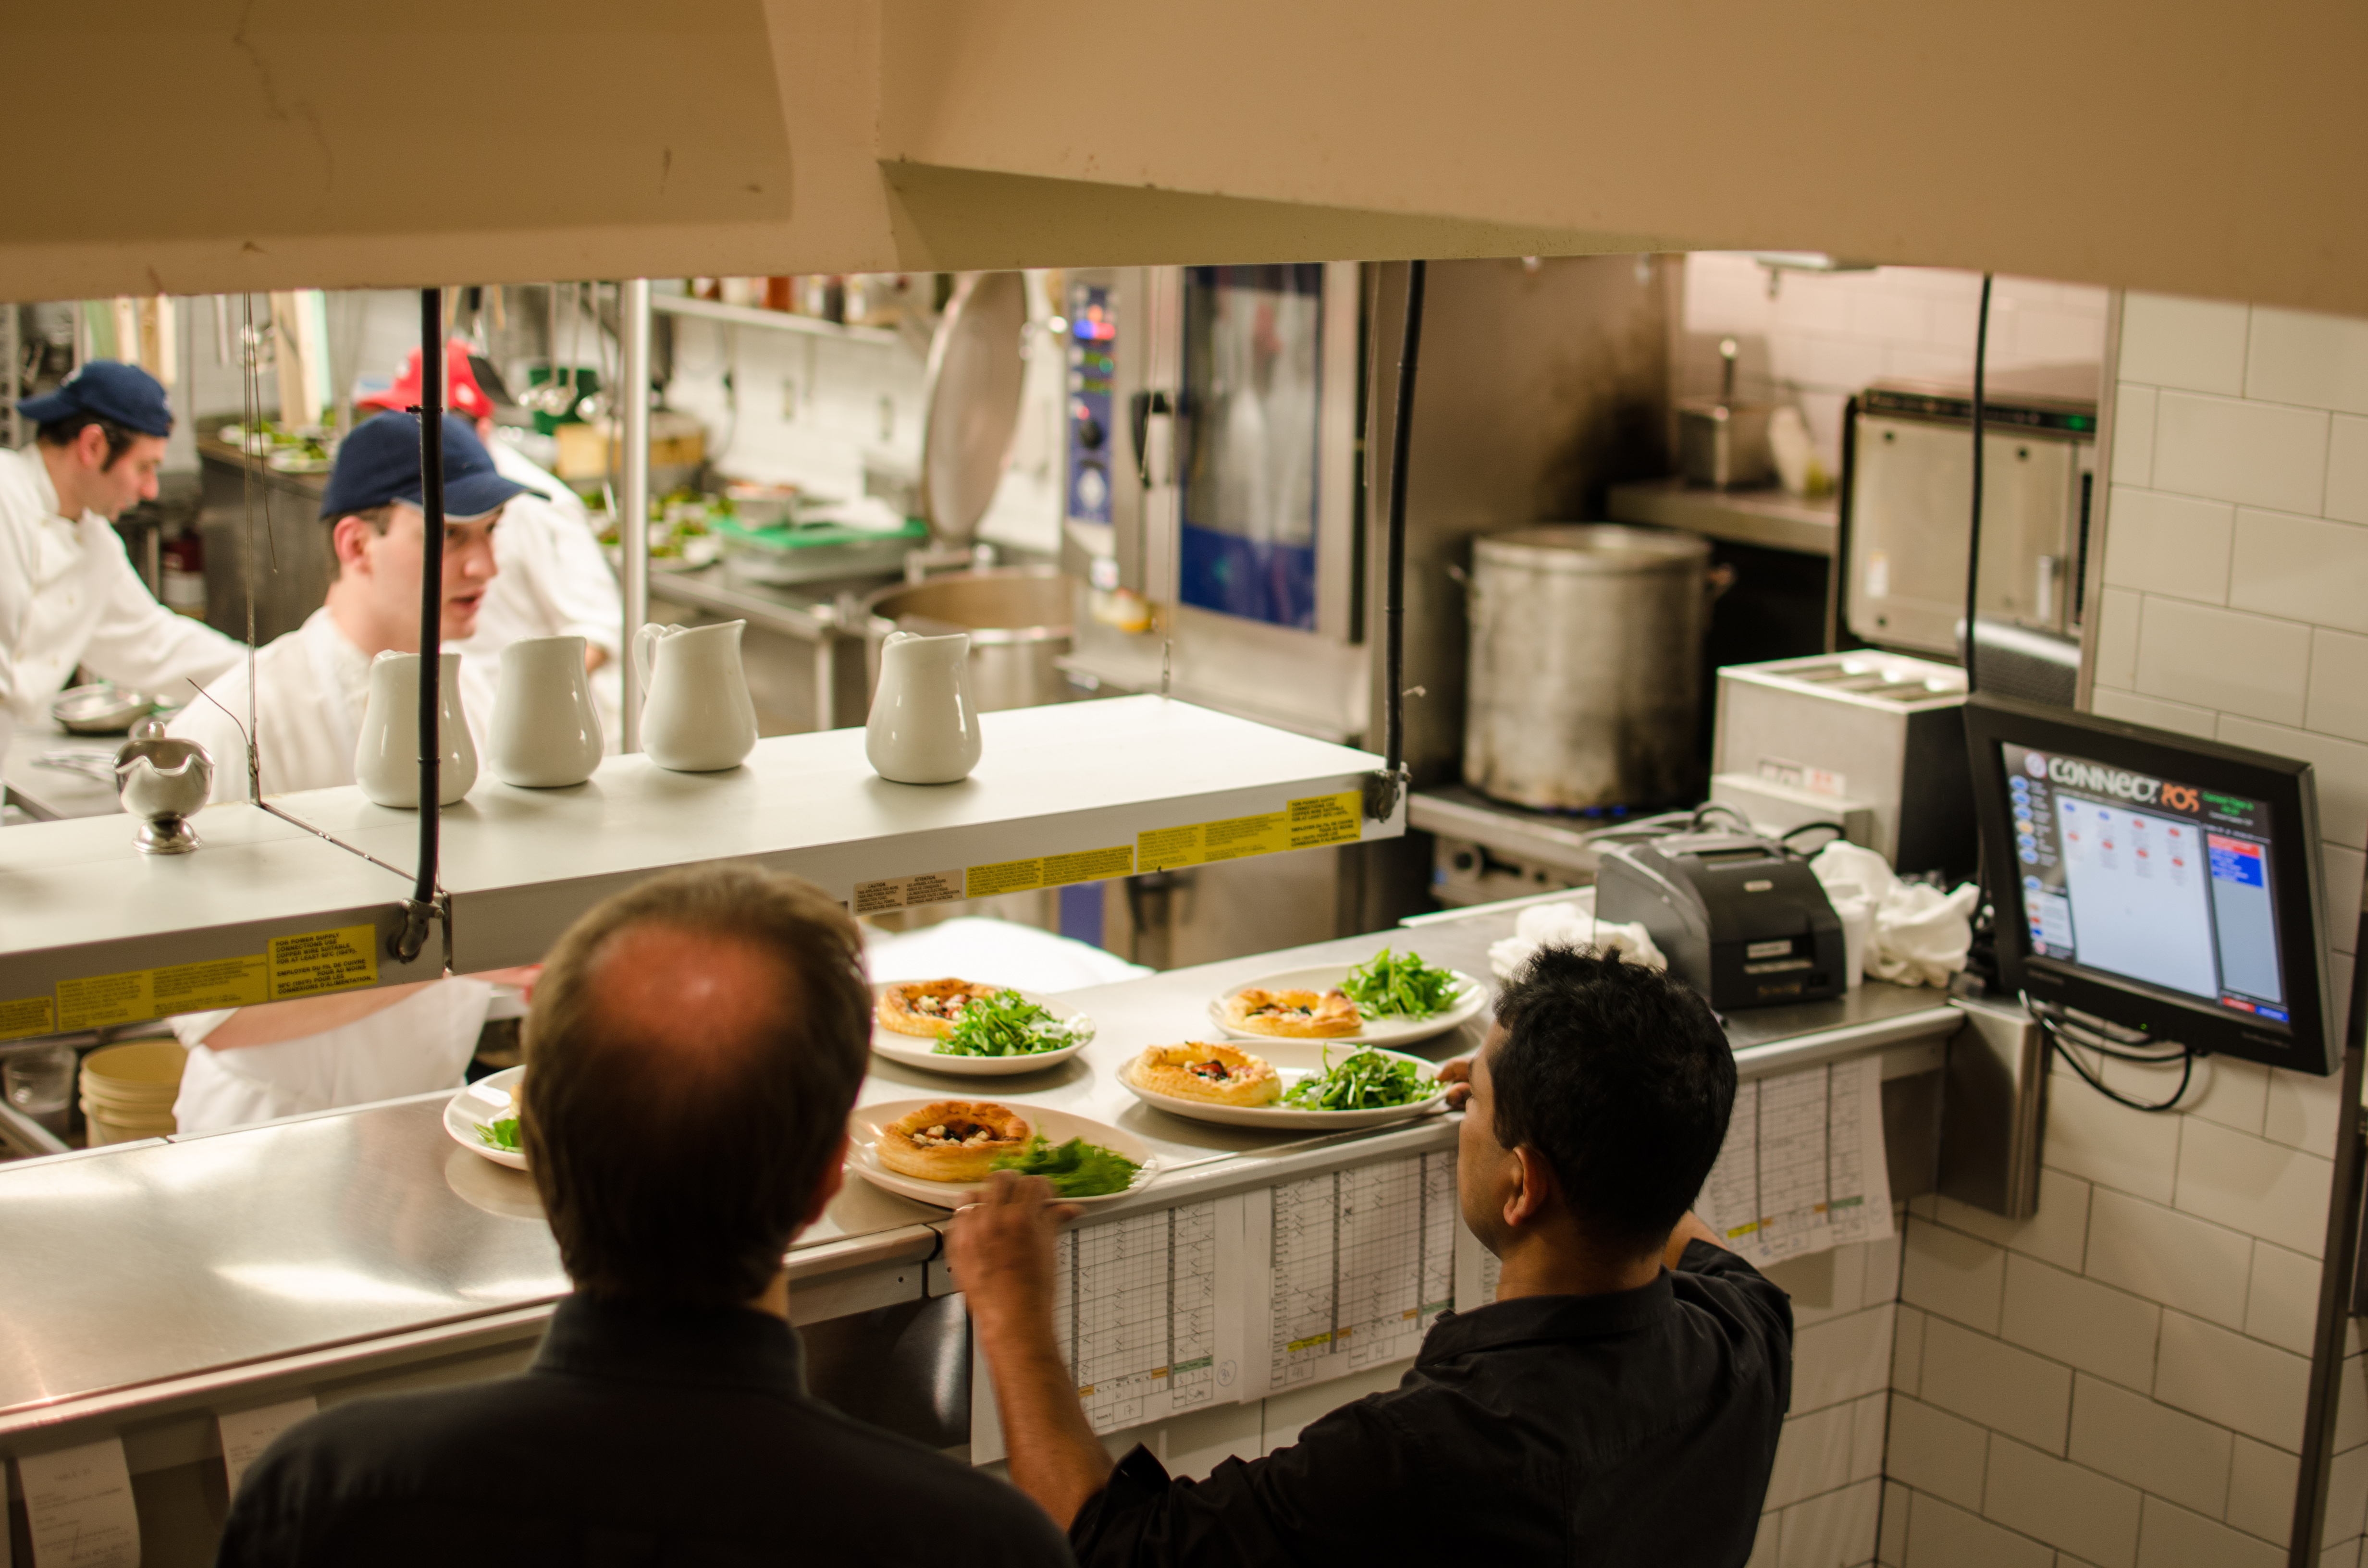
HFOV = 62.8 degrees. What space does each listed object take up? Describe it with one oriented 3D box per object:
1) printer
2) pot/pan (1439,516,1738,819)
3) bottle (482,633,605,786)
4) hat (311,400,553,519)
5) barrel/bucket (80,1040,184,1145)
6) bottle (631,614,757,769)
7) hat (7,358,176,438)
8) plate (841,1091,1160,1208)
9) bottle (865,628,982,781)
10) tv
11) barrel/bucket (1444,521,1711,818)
[{"bbox_3d":[0.933,0.207,3.366,0.285,0.238,0.340,-8,13,-29],"label":"printer"},{"bbox_3d":[1.040,-0.301,5.170,0.678,0.717,0.789,1,11,5],"label":"pot/pan"},{"bbox_3d":[-0.851,-0.100,2.611,0.146,0.198,0.192,1,-4,-14],"label":"bottle"},{"bbox_3d":[-1.306,-0.545,3.452,0.401,0.216,0.287,-11,13,-14],"label":"hat"},{"bbox_3d":[-1.996,0.601,3.712,0.177,0.192,0.340,-9,13,-30],"label":"barrel/bucket"},{"bbox_3d":[-0.692,-0.123,2.811,0.199,0.210,0.161,4,6,34],"label":"bottle"},{"bbox_3d":[-2.729,-0.958,4.875,0.284,0.159,0.183,16,7,-27],"label":"hat"},{"bbox_3d":[-0.261,0.503,2.649,0.237,0.034,0.232,2,10,-38],"label":"plate"},{"bbox_3d":[-0.353,-0.105,2.663,0.150,0.203,0.198,1,0,-5],"label":"bottle"},{"bbox_3d":[1.577,0.151,3.153,0.062,0.610,0.600,-33,30,-31],"label":"tv"},{"bbox_3d":[1.051,-0.359,5.470,0.682,0.779,0.784,0,8,-9],"label":"barrel/bucket"}]
